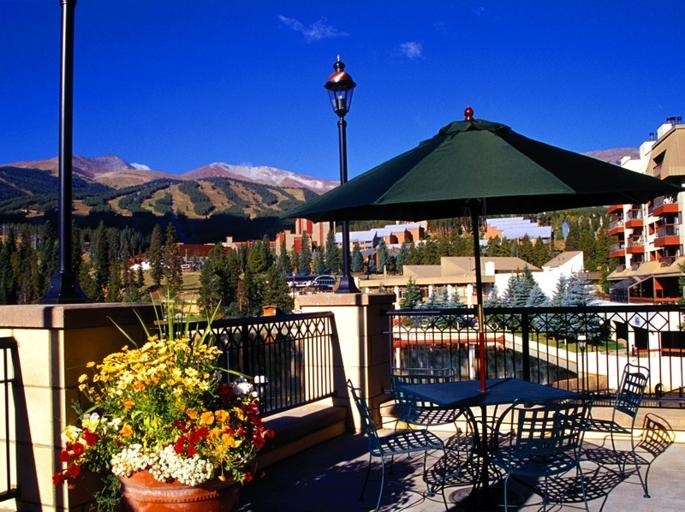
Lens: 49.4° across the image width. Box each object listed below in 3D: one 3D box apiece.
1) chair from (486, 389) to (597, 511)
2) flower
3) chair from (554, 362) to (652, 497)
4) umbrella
[{"bbox_3d":[1.958,1.921,7.411,0.934,1.100,1.703,-4,-1,11],"label":"chair"},{"bbox_3d":[-1.459,1.104,6.848,1.502,1.190,1.600,2,-2,-2],"label":"flower"},{"bbox_3d":[2.974,1.844,8.308,0.715,1.235,0.731,-1,-2,0],"label":"chair"},{"bbox_3d":[1.436,-0.064,8.312,4.002,3.445,3.657,-4,-1,-6],"label":"umbrella"}]
